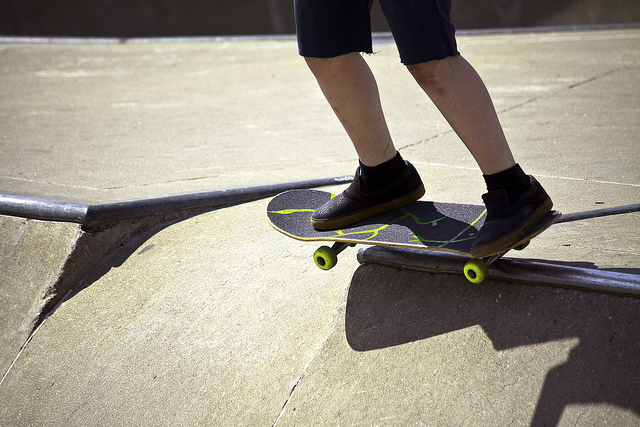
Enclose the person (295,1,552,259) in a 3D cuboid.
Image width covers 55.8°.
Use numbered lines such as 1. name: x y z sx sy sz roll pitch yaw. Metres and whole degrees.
1. person: 0.496 -0.477 3.159 1.327 1.205 0.570 9 30 26
